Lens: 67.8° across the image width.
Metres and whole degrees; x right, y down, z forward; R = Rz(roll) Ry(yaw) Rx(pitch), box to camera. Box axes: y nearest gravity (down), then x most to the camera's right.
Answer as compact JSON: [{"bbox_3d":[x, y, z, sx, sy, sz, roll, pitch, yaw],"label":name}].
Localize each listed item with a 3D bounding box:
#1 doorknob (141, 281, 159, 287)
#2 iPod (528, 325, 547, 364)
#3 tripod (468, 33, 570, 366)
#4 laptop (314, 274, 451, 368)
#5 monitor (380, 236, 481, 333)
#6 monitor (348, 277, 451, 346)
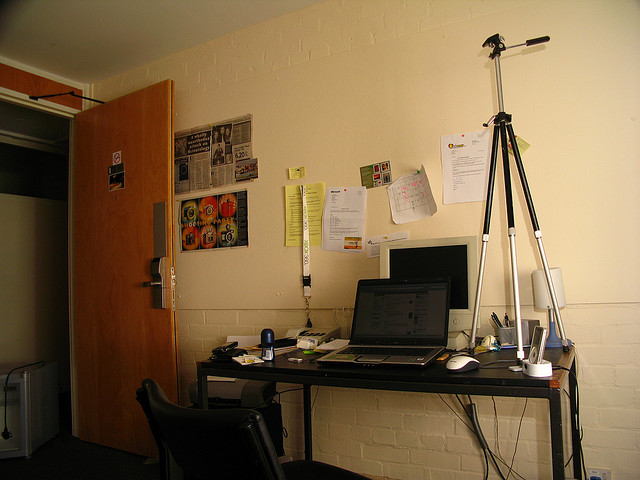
[{"bbox_3d":[-1.249,0.324,3.476,0.195,0.041,0.029,-4,-3,33],"label":"doorknob"},{"bbox_3d":[0.952,0.457,2.092,0.077,0.155,0.171,-3,-3,24],"label":"iPod"},{"bbox_3d":[0.980,-0.303,2.450,0.460,1.754,0.641,-3,-3,28],"label":"tripod"},{"bbox_3d":[0.330,0.375,2.346,0.591,0.426,0.556,-3,-8,19],"label":"laptop"},{"bbox_3d":[0.624,0.275,2.652,0.519,0.508,0.312,-5,-20,25],"label":"monitor"},{"bbox_3d":[0.331,0.383,2.347,0.555,0.369,0.422,-5,-2,34],"label":"monitor"}]
